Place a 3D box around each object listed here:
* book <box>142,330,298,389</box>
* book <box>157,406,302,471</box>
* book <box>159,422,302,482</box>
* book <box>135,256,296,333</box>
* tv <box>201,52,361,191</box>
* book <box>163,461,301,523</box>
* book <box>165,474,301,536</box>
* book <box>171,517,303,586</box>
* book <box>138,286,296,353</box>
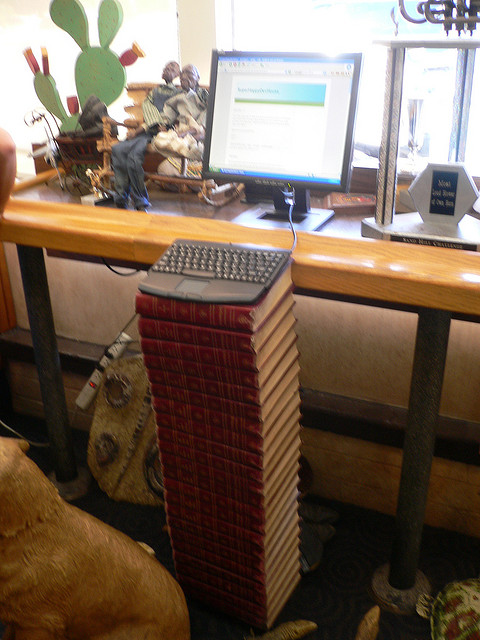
[{"bbox_3d":[-0.034,0.083,0.879,0.133,0.035,0.145,9,30,23],"label":"book"},{"bbox_3d":[-0.029,0.256,0.978,0.137,0.037,0.142,14,40,30],"label":"book"},{"bbox_3d":[-0.030,0.273,0.972,0.140,0.038,0.145,10,31,31],"label":"book"},{"bbox_3d":[-0.028,-0.033,0.830,0.312,0.105,0.171,-5,28,-13],"label":"book"},{"bbox_3d":[0.109,-0.526,1.217,0.325,0.284,0.037,12,12,23],"label":"tv"},{"bbox_3d":[-0.025,0.375,1.024,0.160,0.044,0.168,11,27,28],"label":"book"},{"bbox_3d":[-0.023,0.409,1.041,0.168,0.045,0.176,11,28,28],"label":"book"},{"bbox_3d":[-0.015,0.547,1.108,0.215,0.058,0.224,11,25,33],"label":"book"},{"bbox_3d":[-0.077,0.011,0.889,0.198,0.056,0.226,8,-13,-2],"label":"book"}]
